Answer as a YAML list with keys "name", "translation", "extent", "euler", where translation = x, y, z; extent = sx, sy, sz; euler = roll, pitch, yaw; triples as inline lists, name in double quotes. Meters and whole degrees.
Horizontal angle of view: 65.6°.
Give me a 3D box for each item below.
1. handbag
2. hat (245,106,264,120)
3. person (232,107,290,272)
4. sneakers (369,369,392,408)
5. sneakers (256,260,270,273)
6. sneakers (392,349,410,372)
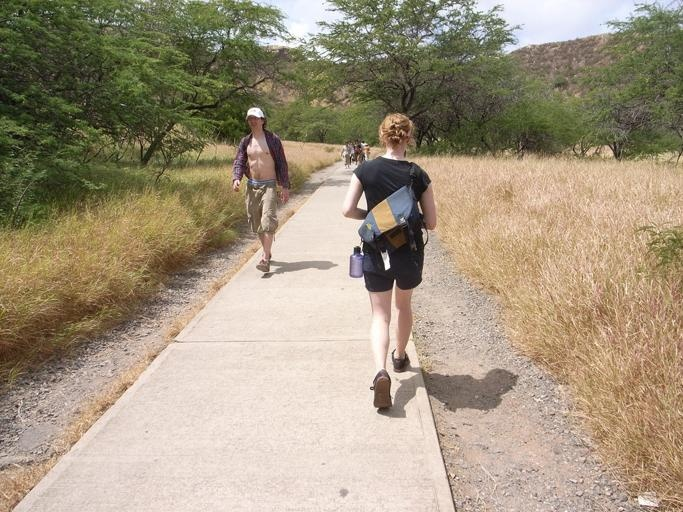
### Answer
- name: "handbag"
  translation: [0.484, -0.306, 4.675]
  extent: [0.544, 0.551, 0.216]
  euler: [45, 13, 16]
- name: "hat"
  translation: [-1.237, -2.067, 7.669]
  extent: [0.232, 0.146, 0.186]
  euler: [-4, 16, -11]
- name: "person"
  translation: [-1.251, -0.989, 7.818]
  extent: [0.802, 2.301, 0.951]
  euler: [2, 16, 12]
- name: "sneakers"
  translation: [0.364, 1.174, 4.643]
  extent: [0.146, 0.351, 0.140]
  euler: [0, 24, 5]
- name: "sneakers"
  translation: [-1.115, 0.145, 7.622]
  extent: [0.101, 0.102, 0.259]
  euler: [0, -18, 0]
- name: "sneakers"
  translation: [0.587, 1.056, 5.237]
  extent: [0.106, 0.104, 0.246]
  euler: [0, 9, 5]
